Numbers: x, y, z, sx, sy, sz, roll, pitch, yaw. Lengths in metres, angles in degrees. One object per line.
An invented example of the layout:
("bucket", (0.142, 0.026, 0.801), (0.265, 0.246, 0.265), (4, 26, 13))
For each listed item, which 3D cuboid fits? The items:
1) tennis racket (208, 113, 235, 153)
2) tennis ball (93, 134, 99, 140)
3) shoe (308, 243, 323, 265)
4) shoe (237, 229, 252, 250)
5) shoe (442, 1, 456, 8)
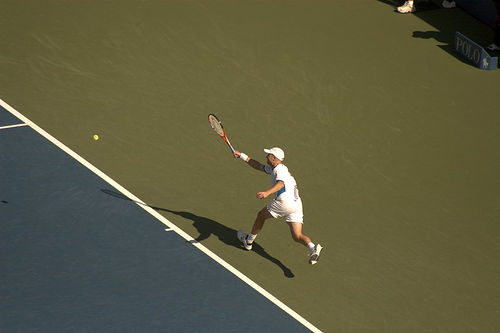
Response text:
("tennis racket", (-0.640, -0.983, 22.390), (0.100, 0.375, 1.334), (-31, 84, -34))
("tennis ball", (-4.131, -0.787, 24.497), (0.131, 0.092, 0.145), (-18, 52, 12))
("shoe", (1.633, 2.130, 22.079), (0.201, 0.238, 0.562), (17, 86, -5))
("shoe", (-0.089, 1.779, 22.851), (0.206, 0.242, 0.612), (-25, 66, -14))
("shoe", (6.156, -4.957, 27.897), (0.271, 0.193, 0.137), (5, 93, 44))
